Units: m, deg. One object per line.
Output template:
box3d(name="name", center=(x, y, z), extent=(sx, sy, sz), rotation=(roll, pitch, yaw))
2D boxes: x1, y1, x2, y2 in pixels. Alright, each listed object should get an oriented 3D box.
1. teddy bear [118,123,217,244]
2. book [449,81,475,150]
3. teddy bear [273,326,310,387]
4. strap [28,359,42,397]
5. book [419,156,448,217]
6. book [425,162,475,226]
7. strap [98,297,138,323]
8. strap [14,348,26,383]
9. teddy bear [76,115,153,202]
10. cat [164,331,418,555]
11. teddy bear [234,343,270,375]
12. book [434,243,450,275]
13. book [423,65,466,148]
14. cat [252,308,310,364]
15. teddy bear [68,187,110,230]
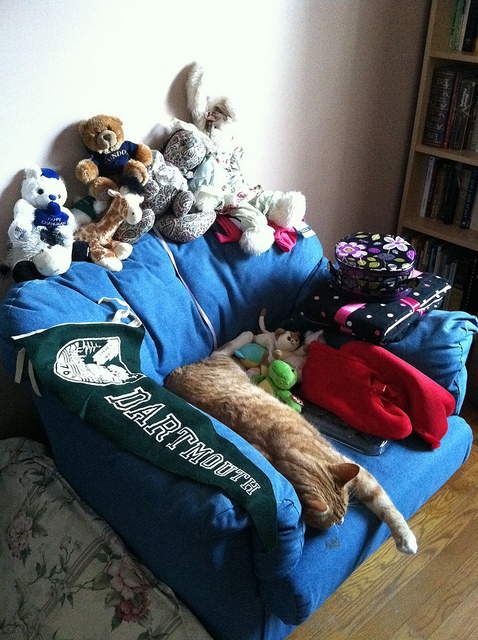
box3d(name="teddy bear", center=(-0.196, -0.357, 1.528), extent=(0.213, 0.187, 0.296), rotation=(37, 63, -3))
box3d(name="book", center=(0.833, -0.765, 2.157), extent=(0.051, 0.240, 0.038), rotation=(20, 28, 25))
box3d(name="teddy bear", center=(0.135, 0.093, 1.549), extent=(0.117, 0.131, 0.097), rotation=(-6, 14, -32))
box3d(name="strap", center=(-0.405, 0.115, 1.134), extent=(0.014, 0.105, 0.015), rotation=(11, 24, 29))
box3d(name="book", center=(0.781, -0.562, 2.376), extent=(0.044, 0.160, 0.175), rotation=(19, 14, 11))
box3d(name="book", center=(0.860, -0.519, 2.327), extent=(0.130, 0.195, 0.217), rotation=(29, 30, 20))
box3d(name="strap", center=(-0.279, -0.022, 1.334), extent=(0.070, 0.025, 0.064), rotation=(17, 52, -11))
box3d(name="strap", center=(-0.442, 0.093, 1.162), extent=(0.018, 0.098, 0.041), rotation=(-4, 27, -24))
box3d(name="teddy bear", center=(-0.322, -0.421, 1.460), extent=(0.211, 0.182, 0.139), rotation=(-18, 34, -21))
box3d(name="cat", center=(0.067, 0.287, 1.340), extent=(0.288, 0.236, 0.674), rotation=(-11, 27, -35))
box3d(name="teddy bear", center=(0.036, 0.107, 1.549), extent=(0.089, 0.031, 0.074), rotation=(17, 40, 0))
box3d(name="book", center=(0.842, -0.257, 2.410), extent=(0.030, 0.104, 0.120), rotation=(19, 18, 21))
box3d(name="book", center=(0.781, -0.820, 2.177), extent=(0.095, 0.230, 0.252), rotation=(20, 50, 19))
box3d(name="cat", center=(0.100, 0.050, 1.599), extent=(0.127, 0.130, 0.207), rotation=(-3, 13, -32))
box3d(name="teddy bear", center=(-0.388, -0.299, 1.518), extent=(0.083, 0.110, 0.040), rotation=(40, -14, 0))
